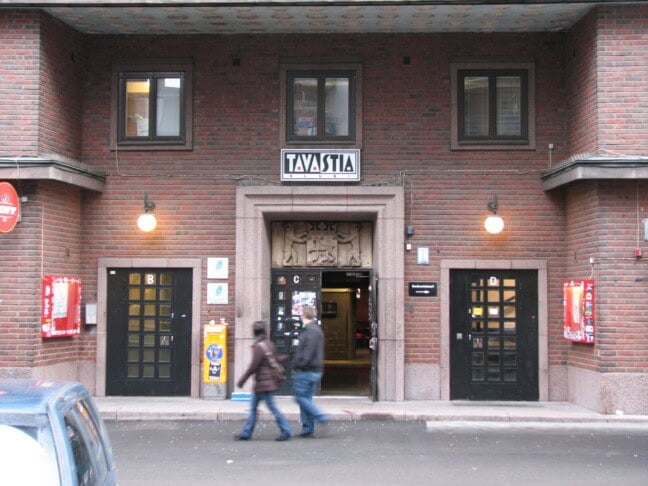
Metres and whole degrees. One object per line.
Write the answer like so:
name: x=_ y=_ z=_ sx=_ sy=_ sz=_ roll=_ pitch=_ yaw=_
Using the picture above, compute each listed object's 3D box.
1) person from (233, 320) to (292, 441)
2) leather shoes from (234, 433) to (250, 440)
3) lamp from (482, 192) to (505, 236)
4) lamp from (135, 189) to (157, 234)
person: x=-1.250 y=2.838 z=19.530 sx=1.131 sy=2.421 sz=1.156 roll=0 pitch=5 yaw=-4
leather shoes: x=-1.667 y=3.950 z=19.292 sx=0.319 sy=0.131 sz=0.116 roll=5 pitch=-9 yaw=10
lamp: x=4.251 y=-0.708 z=23.462 sx=0.490 sy=0.998 sz=0.484 roll=1 pitch=5 yaw=7
lamp: x=-4.450 y=-0.759 z=23.658 sx=0.490 sy=0.974 sz=0.575 roll=-1 pitch=5 yaw=-11
